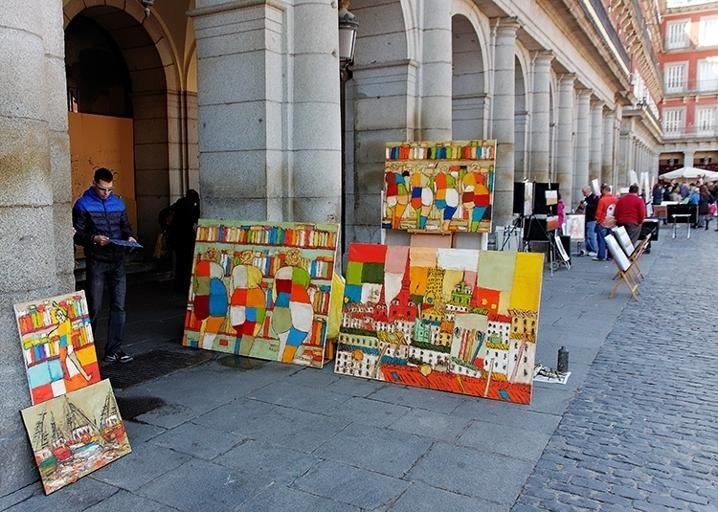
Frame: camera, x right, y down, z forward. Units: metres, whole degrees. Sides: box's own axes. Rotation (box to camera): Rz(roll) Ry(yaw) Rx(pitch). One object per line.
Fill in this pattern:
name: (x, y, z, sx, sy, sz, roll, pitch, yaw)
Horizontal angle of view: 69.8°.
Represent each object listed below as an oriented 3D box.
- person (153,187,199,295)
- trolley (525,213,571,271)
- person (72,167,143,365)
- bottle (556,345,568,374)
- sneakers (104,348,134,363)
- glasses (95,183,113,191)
person: (-3.460, -0.252, 10.193, 1.153, 2.088, 0.489, 7, 11, 38)
trolley: (5.174, -0.342, 13.971, 0.639, 0.761, 0.415, -17, -12, -7)
person: (-3.245, 0.138, 6.584, 0.652, 2.470, 0.448, -5, 10, -31)
bottle: (2.515, 1.285, 6.333, 0.129, 0.335, 0.254, 4, 10, 22)
sneakers: (-3.150, 1.309, 6.744, 0.293, 0.142, 0.157, 2, 3, 0)
glasses: (-3.189, -0.850, 6.428, 0.155, 0.092, 0.194, -6, 12, -36)
